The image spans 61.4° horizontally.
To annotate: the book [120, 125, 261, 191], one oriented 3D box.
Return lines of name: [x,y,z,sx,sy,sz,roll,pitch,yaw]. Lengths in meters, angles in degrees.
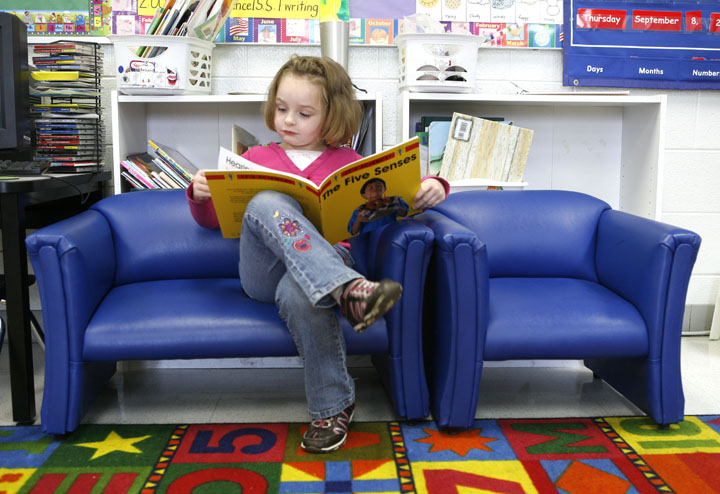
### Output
book: [-0.743,-0.361,2.555,0.434,0.142,0.324,-2,14,-6]

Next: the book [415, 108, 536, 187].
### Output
book: [0.478,-0.387,2.629,0.574,0.383,0.305,4,8,-2]

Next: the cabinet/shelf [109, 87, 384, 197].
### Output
cabinet/shelf: [-0.491,-0.369,2.625,1.005,0.641,0.528,-1,19,-14]

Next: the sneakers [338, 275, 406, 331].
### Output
sneakers: [0.030,0.123,1.683,0.198,0.083,0.066,14,26,17]

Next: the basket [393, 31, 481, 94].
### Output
basket: [0.327,-0.753,2.496,0.273,0.165,0.219,0,8,-8]

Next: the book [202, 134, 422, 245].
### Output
book: [-0.143,-0.164,1.874,0.529,0.297,0.054,-2,44,-3]

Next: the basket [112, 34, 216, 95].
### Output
basket: [-0.795,-0.734,2.450,0.327,0.159,0.223,0,12,0]

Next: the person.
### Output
person: [-0.154,-0.028,1.941,0.848,1.169,0.891,-3,8,-35]

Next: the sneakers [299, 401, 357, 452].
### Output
sneakers: [-0.096,0.554,1.943,0.121,0.116,0.287,-4,8,16]

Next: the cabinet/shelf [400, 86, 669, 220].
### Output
cabinet/shelf: [0.741,-0.334,2.766,1.079,0.845,0.384,1,30,5]
